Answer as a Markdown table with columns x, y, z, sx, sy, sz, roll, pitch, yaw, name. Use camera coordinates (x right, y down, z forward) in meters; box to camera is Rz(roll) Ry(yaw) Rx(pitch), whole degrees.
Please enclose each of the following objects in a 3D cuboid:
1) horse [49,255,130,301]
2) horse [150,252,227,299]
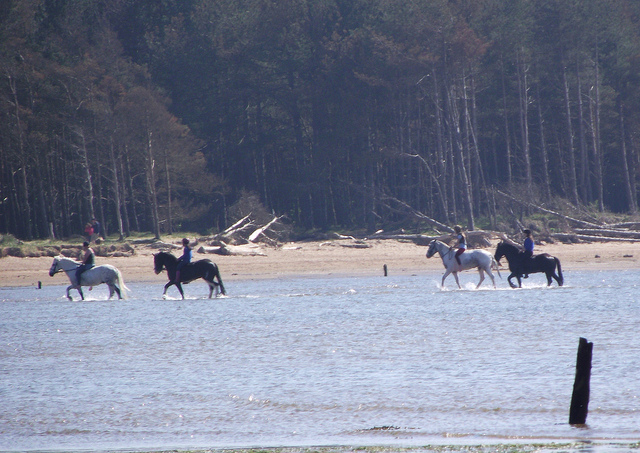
| x | y | z | sx | sy | sz | roll | pitch | yaw | name |
| --- | --- | --- | --- | --- | --- | --- | --- | --- | --- |
| -17.535 | 3.983 | 99.021 | 5.895 | 3.494 | 1.373 | -2 | 4 | -8 | horse |
| -9.895 | 3.786 | 98.815 | 5.705 | 3.464 | 1.379 | -1 | -1 | 7 | horse |
